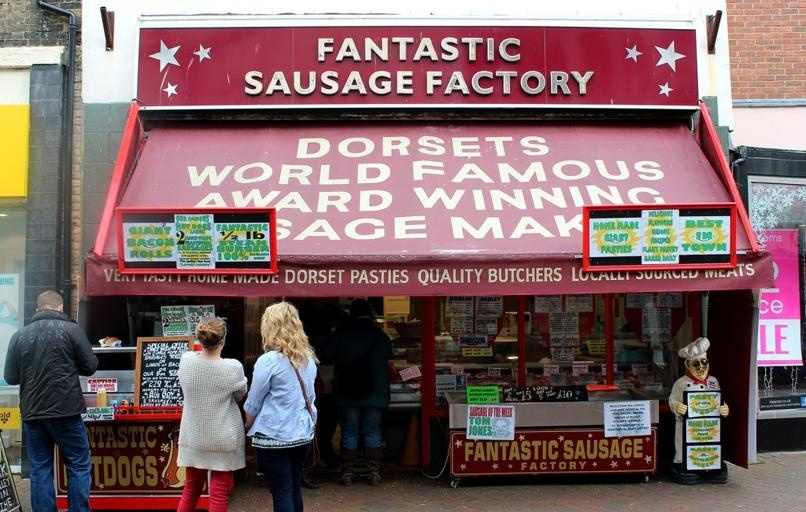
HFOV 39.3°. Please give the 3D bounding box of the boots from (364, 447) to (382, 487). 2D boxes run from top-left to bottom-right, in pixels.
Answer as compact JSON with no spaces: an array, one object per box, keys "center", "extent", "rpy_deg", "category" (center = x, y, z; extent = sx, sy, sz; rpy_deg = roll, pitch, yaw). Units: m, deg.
[{"center":[-0.448,3.146,17.102],"extent":[0.187,0.359,0.389],"rpy_deg":[-3,-5,-11],"category":"boots"}]
